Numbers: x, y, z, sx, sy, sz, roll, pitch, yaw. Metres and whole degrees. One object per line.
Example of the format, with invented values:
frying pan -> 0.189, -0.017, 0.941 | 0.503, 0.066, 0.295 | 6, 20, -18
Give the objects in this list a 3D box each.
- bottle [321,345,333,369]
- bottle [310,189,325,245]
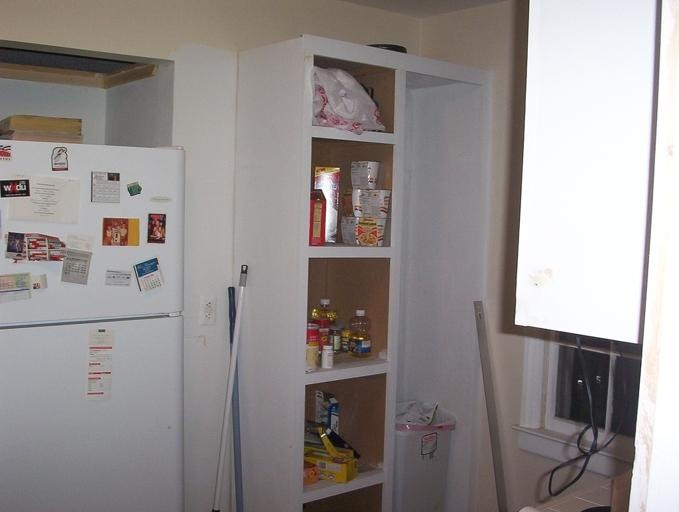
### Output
bottle -> -0.042, 0.377, 2.114 | 0.045, 0.087, 0.033 | 0, 3, -14
bottle -> -0.080, -0.146, 2.113 | 0.058, 0.209, 0.162 | 0, 3, -2
